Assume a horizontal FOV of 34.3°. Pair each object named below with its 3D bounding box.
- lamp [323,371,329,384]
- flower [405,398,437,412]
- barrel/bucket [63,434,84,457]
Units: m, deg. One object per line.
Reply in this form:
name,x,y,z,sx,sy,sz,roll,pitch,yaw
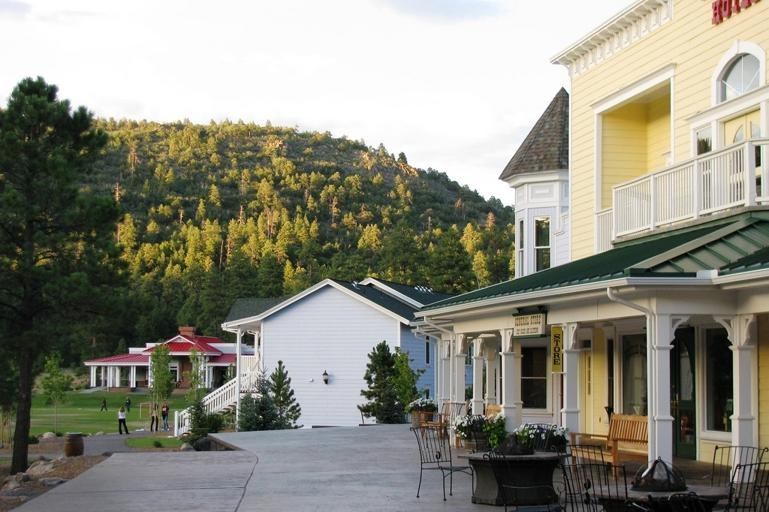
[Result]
lamp,-2.606,5.365,54.816,0.293,0.619,0.276,-4,-15,20
flower,1.464,5.381,44.474,0.587,0.358,0.613,-1,-7,22
barrel/bucket,-10.903,6.658,43.724,0.846,0.938,0.861,0,-9,0
